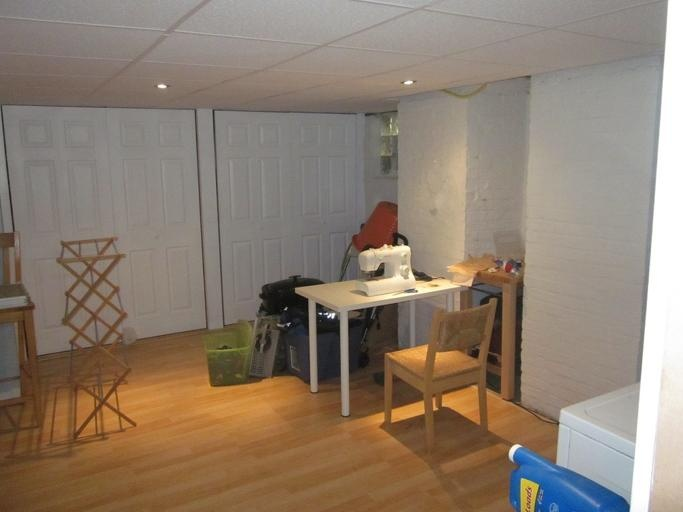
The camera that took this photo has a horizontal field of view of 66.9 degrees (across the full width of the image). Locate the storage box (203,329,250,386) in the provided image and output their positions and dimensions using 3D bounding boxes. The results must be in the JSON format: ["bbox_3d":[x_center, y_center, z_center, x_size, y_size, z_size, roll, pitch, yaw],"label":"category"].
[{"bbox_3d":[-0.953,0.794,4.356,0.370,0.411,0.462,-5,14,-15],"label":"storage box"}]

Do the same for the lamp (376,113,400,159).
[{"bbox_3d":[0.605,-1.314,5.874,0.298,0.442,0.281,-2,12,4],"label":"lamp"}]

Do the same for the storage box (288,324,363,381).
[{"bbox_3d":[-0.199,0.794,4.408,0.653,0.414,0.502,-9,9,-42],"label":"storage box"}]

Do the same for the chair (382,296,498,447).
[{"bbox_3d":[0.611,0.687,3.467,0.591,0.941,0.602,-10,17,-30],"label":"chair"}]

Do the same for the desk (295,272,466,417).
[{"bbox_3d":[0.380,0.679,4.105,1.298,0.834,0.669,-4,8,-30],"label":"desk"}]

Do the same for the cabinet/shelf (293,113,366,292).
[{"bbox_3d":[-0.129,-0.645,5.919,0.901,1.888,0.223,-11,18,-34],"label":"cabinet/shelf"}]
